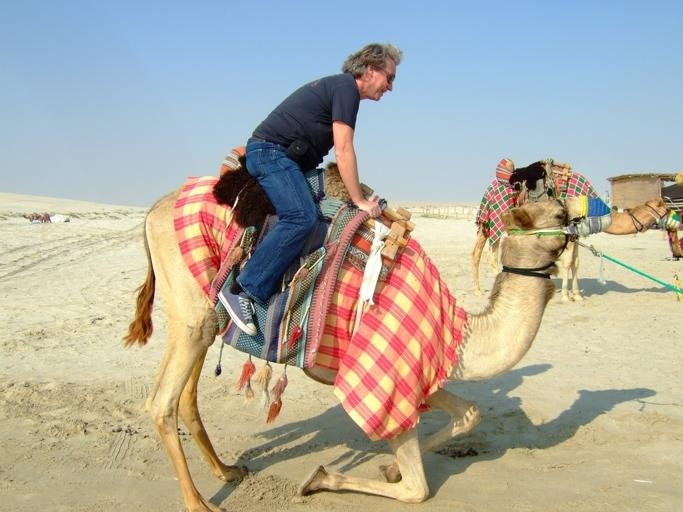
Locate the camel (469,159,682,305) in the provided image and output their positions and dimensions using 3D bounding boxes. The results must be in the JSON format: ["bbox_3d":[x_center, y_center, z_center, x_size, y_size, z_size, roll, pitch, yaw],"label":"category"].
[{"bbox_3d":[4.306,-0.569,10.445,3.659,2.482,1.253,4,12,42],"label":"camel"}]

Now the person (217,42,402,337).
[{"bbox_3d":[-0.367,-0.438,4.260,1.298,2.053,0.591,-3,8,-12],"label":"person"}]
